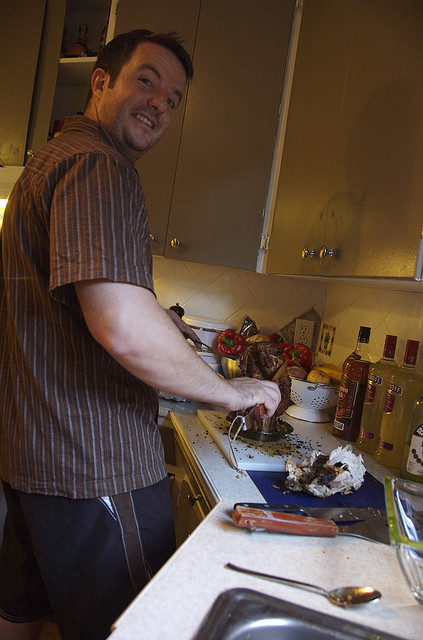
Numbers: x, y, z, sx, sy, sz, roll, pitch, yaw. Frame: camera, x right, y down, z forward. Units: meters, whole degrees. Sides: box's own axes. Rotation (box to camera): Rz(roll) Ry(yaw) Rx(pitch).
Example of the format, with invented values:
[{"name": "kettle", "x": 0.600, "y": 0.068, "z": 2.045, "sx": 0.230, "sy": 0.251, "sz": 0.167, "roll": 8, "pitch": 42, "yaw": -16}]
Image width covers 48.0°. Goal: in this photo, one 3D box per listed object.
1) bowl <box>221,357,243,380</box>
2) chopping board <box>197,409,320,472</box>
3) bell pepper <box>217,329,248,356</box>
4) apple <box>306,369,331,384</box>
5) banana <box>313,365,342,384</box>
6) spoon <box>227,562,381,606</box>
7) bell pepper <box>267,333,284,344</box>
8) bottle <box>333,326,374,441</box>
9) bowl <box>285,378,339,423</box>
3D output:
[{"name": "bowl", "x": 0.066, "y": 0.170, "z": 1.817, "sx": 0.103, "sy": 0.093, "sz": 0.101, "roll": -1, "pitch": 3, "yaw": 0}, {"name": "chopping board", "x": 0.125, "y": 0.309, "z": 1.254, "sx": 0.256, "sy": 0.037, "sz": 0.465, "roll": 8, "pitch": -1, "yaw": -13}, {"name": "bell pepper", "x": 0.080, "y": 0.081, "z": 1.940, "sx": 0.115, "sy": 0.103, "sz": 0.114, "roll": 8, "pitch": -1, "yaw": 5}, {"name": "apple", "x": 0.341, "y": 0.178, "z": 1.518, "sx": 0.049, "sy": 0.047, "sz": 0.048, "roll": 14, "pitch": 3, "yaw": -16}, {"name": "banana", "x": 0.409, "y": 0.176, "z": 1.642, "sx": 0.059, "sy": 0.024, "sz": 0.070, "roll": -7, "pitch": 20, "yaw": -41}, {"name": "spoon", "x": 0.108, "y": 0.313, "z": 0.573, "sx": 0.183, "sy": 0.024, "sz": 0.038, "roll": 11, "pitch": -2, "yaw": 11}, {"name": "bell pepper", "x": 0.276, "y": 0.068, "z": 2.043, "sx": 0.055, "sy": 0.063, "sz": 0.054, "roll": -16, "pitch": 23, "yaw": -30}, {"name": "bottle", "x": 0.379, "y": 0.160, "z": 1.343, "sx": 0.099, "sy": 0.322, "sz": 0.087, "roll": 11, "pitch": 3, "yaw": 13}, {"name": "bowl", "x": 0.332, "y": 0.226, "z": 1.563, "sx": 0.141, "sy": 0.098, "sz": 0.193, "roll": 3, "pitch": -1, "yaw": -17}]
